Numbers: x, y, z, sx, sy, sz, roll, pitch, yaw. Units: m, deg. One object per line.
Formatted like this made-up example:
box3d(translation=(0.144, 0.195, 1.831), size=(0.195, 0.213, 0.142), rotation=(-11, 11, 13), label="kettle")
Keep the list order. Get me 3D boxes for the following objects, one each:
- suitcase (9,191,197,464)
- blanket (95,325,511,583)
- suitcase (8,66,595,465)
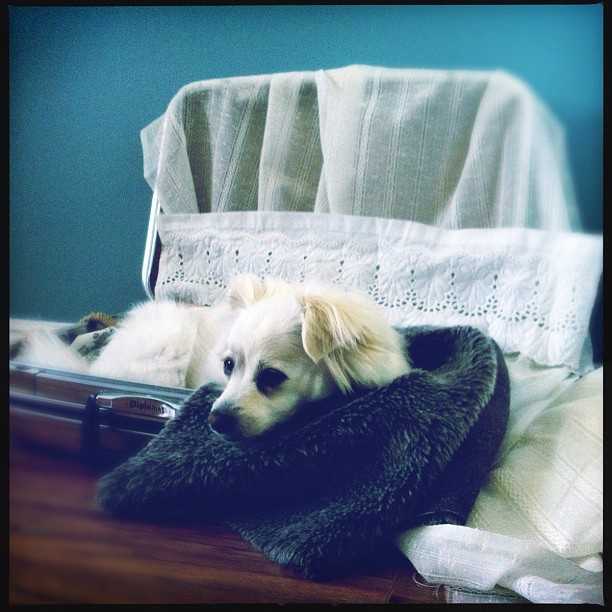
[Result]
box3d(translation=(-0.363, 0.015, 1.584), size=(0.396, 0.524, 0.402), rotation=(3, 3, 11), label="suitcase")
box3d(translation=(0.000, 0.227, 1.337), size=(0.693, 0.449, 0.172), rotation=(9, 11, 11), label="blanket")
box3d(translation=(0.182, -0.127, 1.636), size=(0.786, 0.696, 0.724), rotation=(1, 1, 14), label="suitcase")
